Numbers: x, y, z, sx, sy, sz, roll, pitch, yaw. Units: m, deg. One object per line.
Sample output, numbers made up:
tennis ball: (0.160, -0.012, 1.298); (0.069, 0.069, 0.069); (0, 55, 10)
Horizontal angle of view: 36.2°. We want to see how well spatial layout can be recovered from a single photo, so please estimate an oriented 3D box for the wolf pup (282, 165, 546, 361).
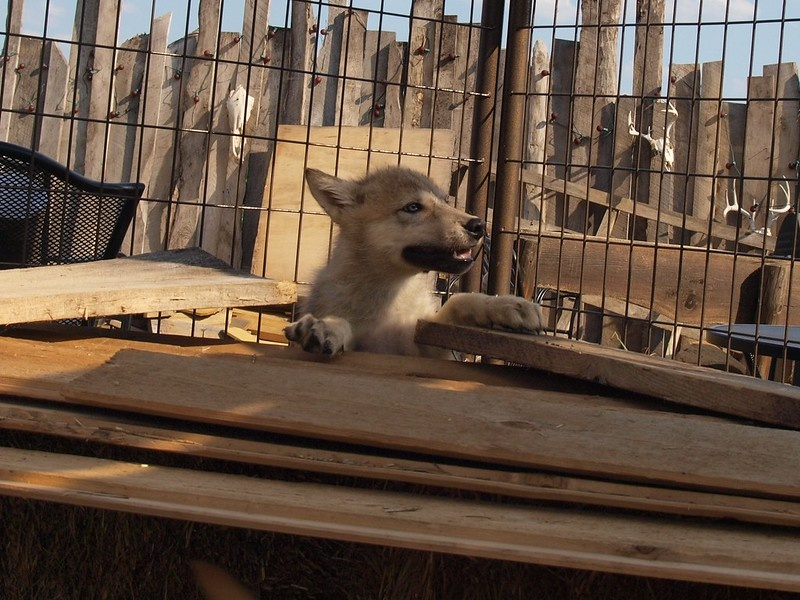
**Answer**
wolf pup: (-0.123, -0.128, 8.309); (1.030, 1.083, 1.744); (9, -26, -41)
